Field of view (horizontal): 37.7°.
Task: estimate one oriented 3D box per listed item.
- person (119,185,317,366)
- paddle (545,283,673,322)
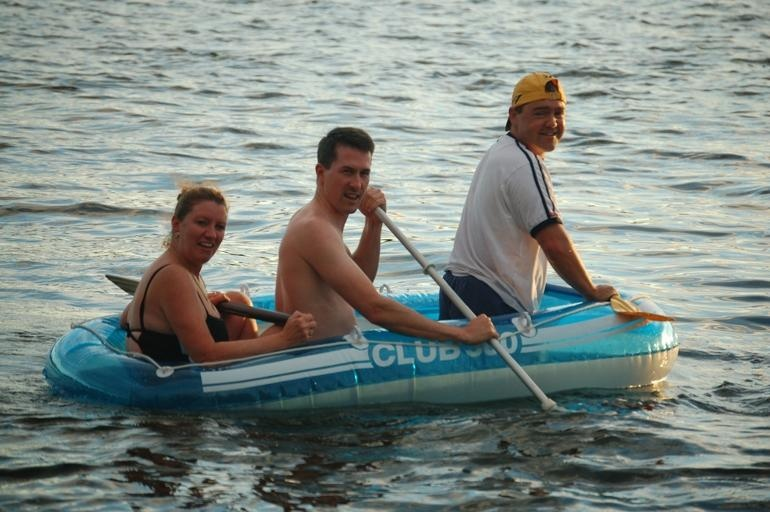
[{"bbox_3d":[-1.820,0.180,11.421,1.625,1.831,0.750,-1,12,-13],"label":"person"},{"bbox_3d":[2.346,0.548,12.079,1.695,0.187,0.404,7,13,16],"label":"paddle"}]
